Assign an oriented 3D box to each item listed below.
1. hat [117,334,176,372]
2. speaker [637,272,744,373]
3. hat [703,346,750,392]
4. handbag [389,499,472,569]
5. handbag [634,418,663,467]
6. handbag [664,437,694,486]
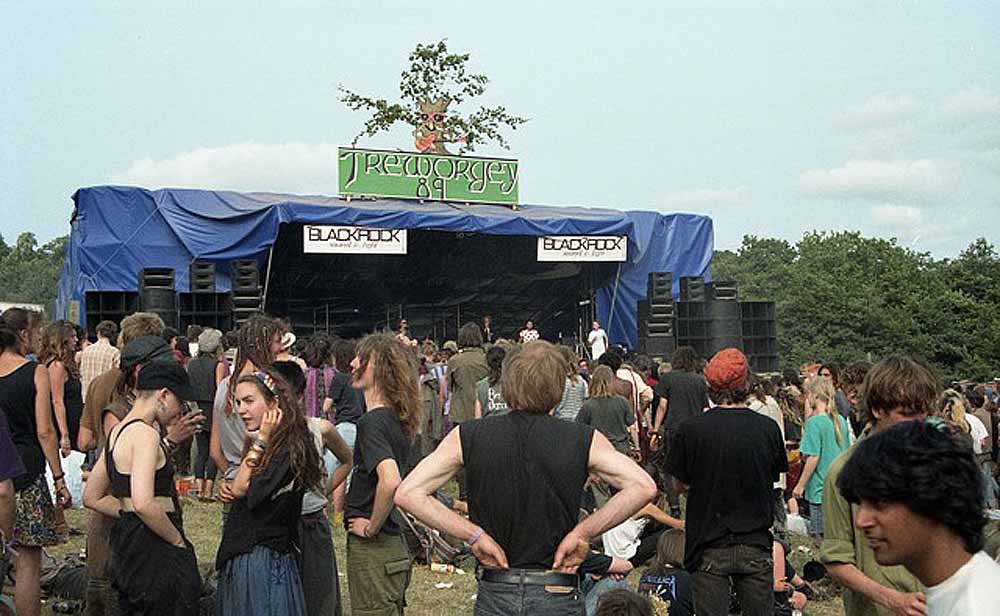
[{"bbox_3d":[-3.052,0.418,8.366,0.378,0.143,0.284,-15,12,-16],"label":"hat"},{"bbox_3d":[3.874,0.300,19.862,2.120,1.971,0.967,0,-4,0],"label":"speaker"},{"bbox_3d":[1.977,0.535,8.411,0.302,0.397,0.316,-2,-41,24],"label":"hat"},{"bbox_3d":[-0.656,2.421,10.498,1.104,0.396,0.822,28,0,9],"label":"handbag"},{"bbox_3d":[1.842,1.725,11.939,0.447,0.445,0.112,-2,-5,38],"label":"handbag"},{"bbox_3d":[1.558,1.370,8.384,0.294,0.396,0.230,2,-14,-24],"label":"handbag"}]
